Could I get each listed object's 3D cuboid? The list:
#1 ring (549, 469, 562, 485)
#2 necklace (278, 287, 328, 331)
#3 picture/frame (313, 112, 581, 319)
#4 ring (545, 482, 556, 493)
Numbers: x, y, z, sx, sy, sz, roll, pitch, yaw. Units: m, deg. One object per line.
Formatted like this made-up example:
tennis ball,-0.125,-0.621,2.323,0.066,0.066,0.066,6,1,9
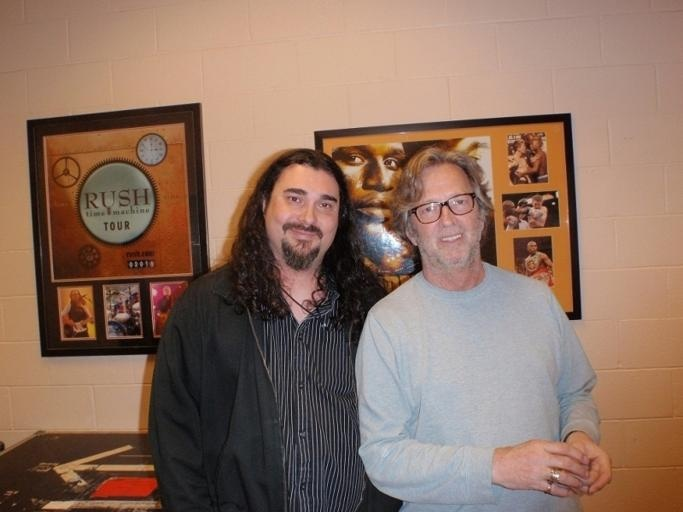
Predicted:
ring,0.799,0.833,2.500,0.043,0.057,0.013,-3,0,-20
necklace,-0.172,0.223,2.977,0.242,0.086,0.012,34,-19,7
picture/frame,0.509,-0.237,3.434,1.375,0.920,0.020,-1,-11,9
ring,0.780,0.874,2.507,0.044,0.040,0.036,8,11,9
